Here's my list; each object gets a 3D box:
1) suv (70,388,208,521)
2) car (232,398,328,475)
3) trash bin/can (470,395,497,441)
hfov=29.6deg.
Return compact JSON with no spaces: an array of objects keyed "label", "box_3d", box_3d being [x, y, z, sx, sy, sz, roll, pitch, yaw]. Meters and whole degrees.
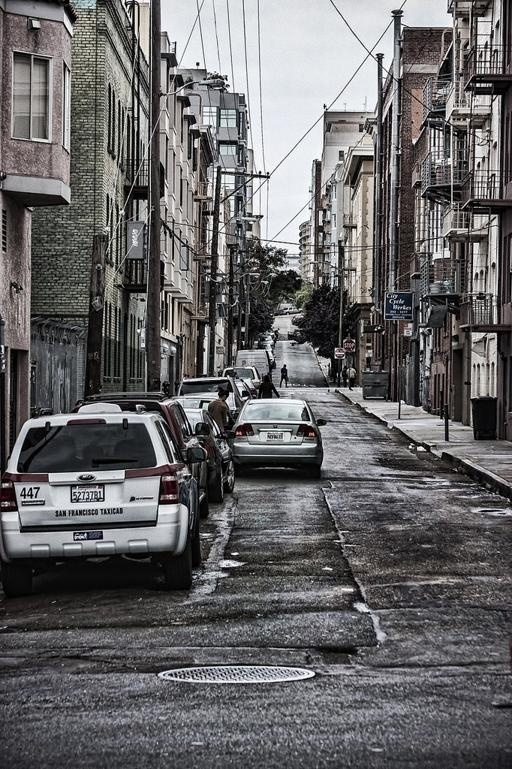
[{"label":"suv","box_3d":[-1.194,0.794,11.698,0.921,1.370,2.418,0,-1,5]},{"label":"car","box_3d":[0.388,1.115,19.427,1.772,1.492,1.344,-1,1,0]},{"label":"trash bin/can","box_3d":[6.908,1.012,29.240,0.795,1.275,0.762,-1,1,4]}]
